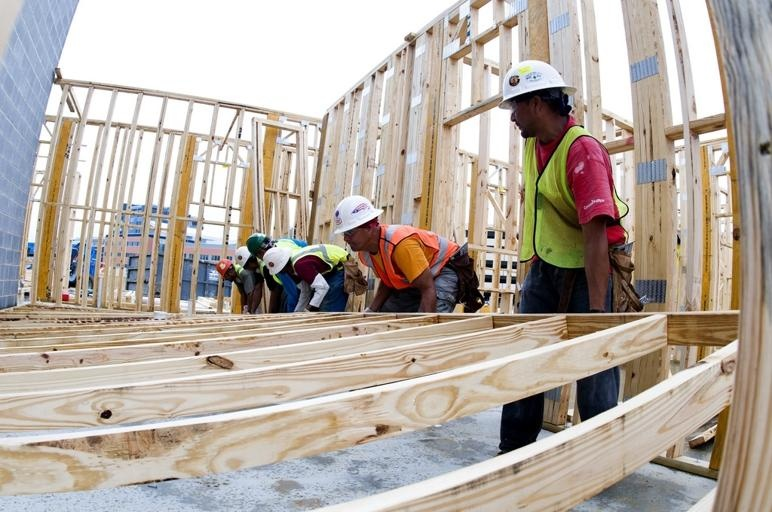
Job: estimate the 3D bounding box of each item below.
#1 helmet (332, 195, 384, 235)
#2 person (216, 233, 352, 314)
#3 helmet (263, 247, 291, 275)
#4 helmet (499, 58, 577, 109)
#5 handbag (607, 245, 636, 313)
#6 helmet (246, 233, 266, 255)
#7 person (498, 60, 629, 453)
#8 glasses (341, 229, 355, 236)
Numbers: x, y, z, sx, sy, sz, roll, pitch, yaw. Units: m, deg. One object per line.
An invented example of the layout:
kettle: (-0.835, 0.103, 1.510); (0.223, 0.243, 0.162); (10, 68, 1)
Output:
helmet: (-0.193, -0.325, 3.716); (0.271, 0.186, 0.338); (-10, 11, 41)
person: (-0.850, 0.254, 5.425); (0.746, 0.717, 1.421); (1, 0, -38)
helmet: (-1.164, 0.032, 5.383); (0.148, 0.283, 0.258); (39, 1, -38)
helmet: (0.777, -0.925, 2.597); (0.320, 0.184, 0.258); (-9, 3, -17)
handbag: (1.114, 0.107, 2.431); (0.103, 0.276, 0.218); (7, 3, 18)
helmet: (-1.586, -0.160, 6.203); (0.219, 0.205, 0.264); (30, -38, -25)
person: (0.804, 0.012, 2.474); (0.635, 2.023, 0.581); (2, 0, 36)
glasses: (-0.273, -0.171, 3.640); (0.058, 0.031, 0.046); (5, 2, -17)
